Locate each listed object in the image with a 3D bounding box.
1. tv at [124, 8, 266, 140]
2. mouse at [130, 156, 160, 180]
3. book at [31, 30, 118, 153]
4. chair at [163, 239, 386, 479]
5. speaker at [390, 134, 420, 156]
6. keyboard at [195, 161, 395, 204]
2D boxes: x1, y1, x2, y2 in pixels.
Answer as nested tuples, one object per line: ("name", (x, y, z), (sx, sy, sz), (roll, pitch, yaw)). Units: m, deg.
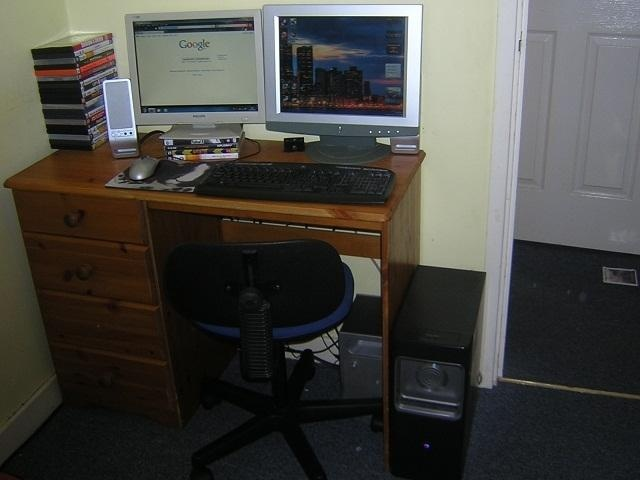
("tv", (-0.478, -0.643, 2.034), (0.593, 0.438, 0.060), (-1, 31, 6))
("mouse", (-0.632, -0.252, 1.892), (0.103, 0.056, 0.108), (-5, 27, -11))
("book", (-0.992, -0.579, 2.115), (0.261, 0.483, 0.477), (-1, 7, -2))
("chair", (-0.174, 0.465, 1.937), (0.633, 0.787, 0.641), (2, 42, 1))
("speaker", (0.319, -0.351, 1.976), (0.116, 0.080, 0.063), (3, 22, 11))
("keyboard", (-0.092, -0.198, 1.790), (0.674, 0.067, 0.240), (6, 27, 10))
